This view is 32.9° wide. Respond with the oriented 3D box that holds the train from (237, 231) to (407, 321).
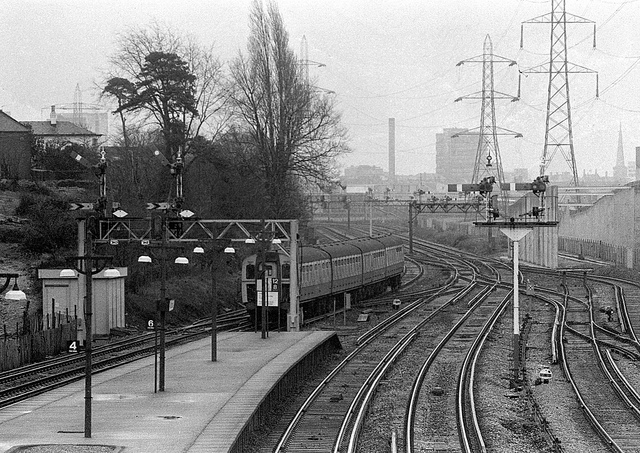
[{"bbox_3d":[0.101,3.291,68.126,9.278,4.930,12.716,-1,3,18],"label":"train"}]
